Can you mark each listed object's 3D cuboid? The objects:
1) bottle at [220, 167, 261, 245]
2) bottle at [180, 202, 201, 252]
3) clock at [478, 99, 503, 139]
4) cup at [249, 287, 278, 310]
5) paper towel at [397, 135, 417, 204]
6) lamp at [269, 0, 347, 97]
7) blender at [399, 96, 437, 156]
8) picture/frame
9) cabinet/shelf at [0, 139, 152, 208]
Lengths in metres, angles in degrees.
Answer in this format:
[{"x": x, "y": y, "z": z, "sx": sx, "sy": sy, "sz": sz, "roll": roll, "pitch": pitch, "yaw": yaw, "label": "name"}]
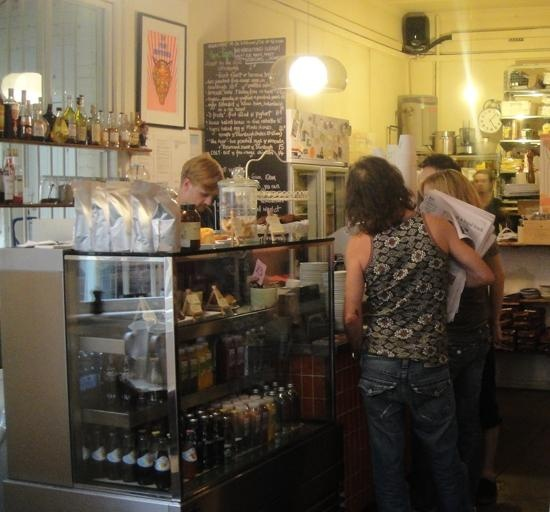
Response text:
[{"x": -0.138, "y": -0.207, "z": 2.280, "sx": 0.145, "sy": 0.261, "sz": 0.219, "roll": -2, "pitch": 5, "yaw": -5, "label": "bottle"}, {"x": -0.275, "y": -0.114, "z": 1.918, "sx": 0.060, "sy": 0.153, "sz": 0.122, "roll": -2, "pitch": 5, "yaw": -7, "label": "bottle"}, {"x": 3.650, "y": -2.518, "z": 10.027, "sx": 0.131, "sy": 0.623, "sz": 0.407, "roll": -4, "pitch": 0, "yaw": -39, "label": "clock"}, {"x": -0.044, "y": 0.147, "z": 2.268, "sx": 0.070, "sy": 0.095, "sz": 0.139, "roll": 2, "pitch": 4, "yaw": 30, "label": "cup"}, {"x": 0.754, "y": -0.555, "z": 3.393, "sx": 0.081, "sy": 0.376, "sz": 0.082, "roll": -9, "pitch": 3, "yaw": 32, "label": "paper towel"}, {"x": 0.229, "y": -1.430, "z": 4.117, "sx": 0.372, "sy": 0.357, "sz": 0.395, "roll": 0, "pitch": 0, "yaw": -6, "label": "lamp"}, {"x": 2.481, "y": -2.444, "z": 10.321, "sx": 0.529, "sy": 1.011, "sz": 0.561, "roll": -8, "pitch": 10, "yaw": -29, "label": "blender"}, {"x": -1.040, "y": -1.819, "z": 5.470, "sx": 0.122, "sy": 1.006, "sz": 0.592, "roll": 1, "pitch": 5, "yaw": 32, "label": "picture/frame"}, {"x": -1.822, "y": -0.725, "z": 4.940, "sx": 0.561, "sy": 0.500, "sz": 1.780, "roll": -3, "pitch": 5, "yaw": 35, "label": "cabinet/shelf"}]
